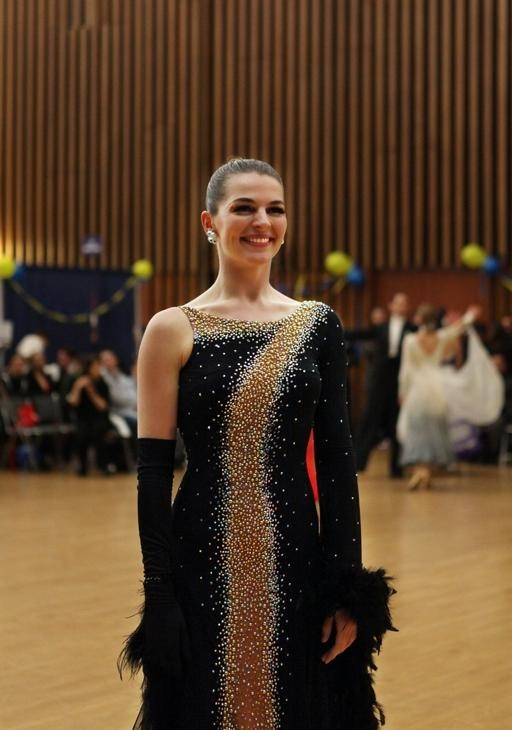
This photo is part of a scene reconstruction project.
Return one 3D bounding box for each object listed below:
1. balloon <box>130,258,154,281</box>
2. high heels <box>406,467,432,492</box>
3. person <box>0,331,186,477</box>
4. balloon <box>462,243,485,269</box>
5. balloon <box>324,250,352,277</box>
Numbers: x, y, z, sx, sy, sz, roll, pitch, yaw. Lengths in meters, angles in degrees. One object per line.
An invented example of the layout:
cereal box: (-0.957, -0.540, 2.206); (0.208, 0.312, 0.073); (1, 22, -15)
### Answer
balloon: (-1.244, -1.040, 10.072); (0.261, 0.245, 0.243); (-9, 11, -11)
high heels: (1.213, 0.865, 6.919); (0.155, 0.206, 0.221); (-1, 12, 5)
person: (-1.540, 0.348, 7.611); (1.507, 1.491, 1.142); (-1, -1, 5)
balloon: (1.905, -0.960, 8.091); (0.202, 0.184, 0.414); (5, 6, 11)
balloon: (0.868, -1.035, 9.859); (0.255, 0.318, 0.306); (0, 32, -2)
